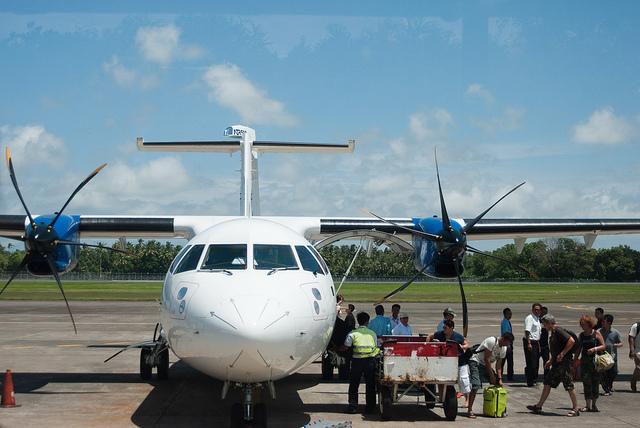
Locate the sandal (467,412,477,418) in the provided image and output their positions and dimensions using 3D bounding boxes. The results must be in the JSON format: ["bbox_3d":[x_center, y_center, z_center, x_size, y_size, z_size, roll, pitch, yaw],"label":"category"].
[{"bbox_3d":[3.992,5.301,20.071,0.230,0.104,0.187,2,-5,-23],"label":"sandal"}]

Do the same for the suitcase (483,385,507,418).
[{"bbox_3d":[4.617,4.946,20.162,0.596,0.815,0.262,-1,-5,12],"label":"suitcase"}]

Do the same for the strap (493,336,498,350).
[{"bbox_3d":[4.718,3.466,20.505,0.084,0.280,0.263,-3,-6,31],"label":"strap"}]

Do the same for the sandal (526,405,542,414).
[{"bbox_3d":[5.717,5.243,20.591,0.175,0.183,0.590,1,-5,-13],"label":"sandal"}]

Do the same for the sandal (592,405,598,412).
[{"bbox_3d":[7.399,5.235,20.560,0.134,0.116,0.056,3,-4,-31],"label":"sandal"}]

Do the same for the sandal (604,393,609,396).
[{"bbox_3d":[8.215,5.174,21.874,0.120,0.040,0.113,-1,-5,12],"label":"sandal"}]

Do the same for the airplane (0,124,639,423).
[{"bbox_3d":[-1.665,1.063,21.917,15.264,8.445,9.919,-1,-5,17],"label":"airplane"}]

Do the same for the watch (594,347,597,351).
[{"bbox_3d":[7.492,3.682,20.762,0.058,0.076,0.025,-2,-11,11],"label":"watch"}]

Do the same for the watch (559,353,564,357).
[{"bbox_3d":[6.391,3.736,20.213,0.077,0.099,0.032,-8,-13,21],"label":"watch"}]

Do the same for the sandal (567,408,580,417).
[{"bbox_3d":[6.702,5.261,20.187,0.352,0.192,0.124,1,-5,-9],"label":"sandal"}]
